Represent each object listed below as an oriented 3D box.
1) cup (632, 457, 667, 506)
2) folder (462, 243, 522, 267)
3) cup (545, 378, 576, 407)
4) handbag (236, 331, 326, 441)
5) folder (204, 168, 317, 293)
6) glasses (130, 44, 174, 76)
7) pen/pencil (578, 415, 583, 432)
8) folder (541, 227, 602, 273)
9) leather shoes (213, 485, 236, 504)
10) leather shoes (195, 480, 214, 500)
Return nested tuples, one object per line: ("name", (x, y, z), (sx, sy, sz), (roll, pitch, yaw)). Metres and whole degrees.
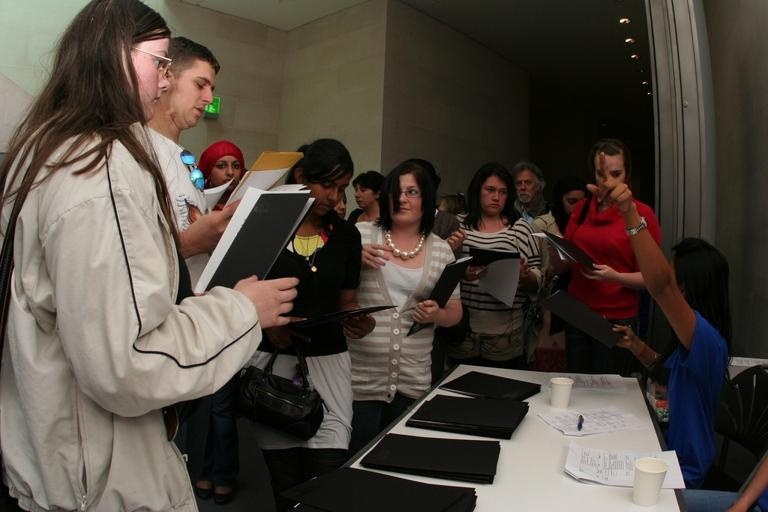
("cup", (0.814, 0.681, 1.629), (0.118, 0.128, 0.067), (1, 10, -16))
("folder", (0.636, -0.007, 3.180), (0.201, 0.029, 0.146), (4, -35, 8))
("cup", (0.762, 0.586, 2.294), (0.111, 0.110, 0.098), (1, 3, 0))
("handbag", (-0.426, 0.541, 2.299), (0.371, 0.385, 0.157), (18, 17, 8))
("folder", (-0.432, -0.088, 1.739), (0.079, 0.342, 0.344), (33, 17, 20))
("glasses", (-0.629, -0.540, 1.481), (0.034, 0.057, 0.112), (10, 11, 30))
("pen/pencil", (0.757, 0.644, 2.069), (0.023, 0.053, 0.009), (2, 10, 0))
("folder", (0.993, -0.042, 2.913), (0.249, 0.071, 0.259), (43, 6, 26))
("leather shoes", (-0.985, 1.460, 3.284), (0.057, 0.069, 0.170), (1, -9, -2))
("leather shoes", (-1.105, 1.429, 3.295), (0.112, 0.120, 0.050), (2, 9, -10))
